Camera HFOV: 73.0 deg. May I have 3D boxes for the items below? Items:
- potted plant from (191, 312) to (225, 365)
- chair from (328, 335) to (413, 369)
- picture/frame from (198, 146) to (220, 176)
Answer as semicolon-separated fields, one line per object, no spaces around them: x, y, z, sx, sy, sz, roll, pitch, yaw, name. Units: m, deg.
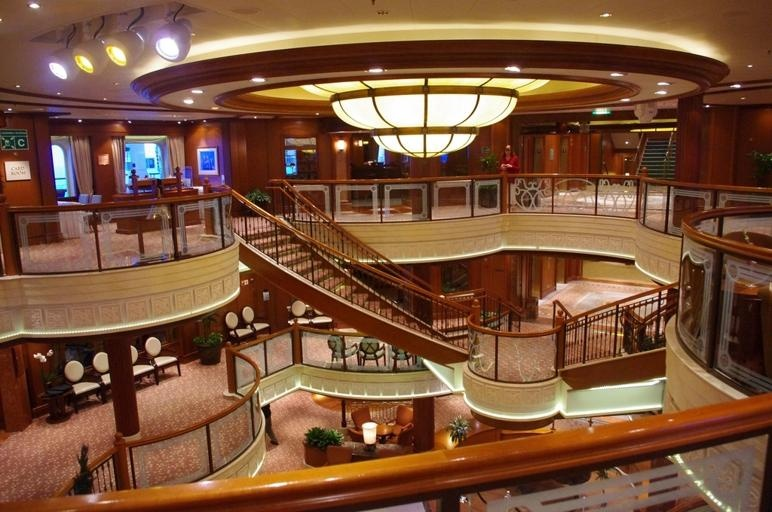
-4.719;2.187;13.903;0.838;1.322;0.757;-2;-6;-43;potted plant
-0.379;2.264;12.474;1.974;0.926;0.566;-5;-6;-5;chair
-5.710;-3.071;16.860;1.037;0.989;0.069;6;11;43;picture/frame
